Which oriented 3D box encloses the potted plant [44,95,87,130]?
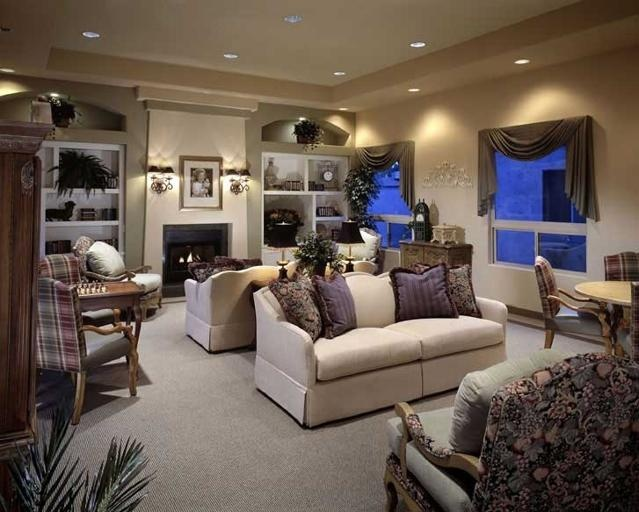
[{"bbox_3d":[-4.186,-2.338,7.166,0.434,0.583,0.711,-4,9,-31],"label":"potted plant"}]

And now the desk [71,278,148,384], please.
[{"bbox_3d":[-2.371,0.756,4.869,0.757,0.783,0.765,-2,7,-24],"label":"desk"}]

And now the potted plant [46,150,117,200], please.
[{"bbox_3d":[-3.911,-1.355,7.258,0.676,0.527,0.714,2,3,-11],"label":"potted plant"}]

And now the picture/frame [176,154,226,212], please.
[{"bbox_3d":[-2.191,-1.336,7.971,0.904,1.273,0.115,-2,3,-35],"label":"picture/frame"}]

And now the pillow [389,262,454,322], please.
[{"bbox_3d":[1.043,0.392,4.479,0.453,0.458,0.196,-3,-4,3],"label":"pillow"}]

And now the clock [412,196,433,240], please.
[{"bbox_3d":[1.774,-0.593,7.626,0.378,0.638,0.259,4,8,32],"label":"clock"}]

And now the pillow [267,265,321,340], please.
[{"bbox_3d":[-0.189,0.470,3.924,0.243,0.568,0.572,-5,-2,25],"label":"pillow"}]

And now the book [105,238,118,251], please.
[{"bbox_3d":[-3.386,-0.175,7.145,0.103,0.213,0.196,0,1,36],"label":"book"}]

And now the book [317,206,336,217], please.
[{"bbox_3d":[0.130,-0.985,9.535,0.336,0.234,0.379,5,5,-18],"label":"book"}]

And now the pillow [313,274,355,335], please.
[{"bbox_3d":[0.184,0.472,4.169,0.211,0.585,0.607,-5,0,25],"label":"pillow"}]

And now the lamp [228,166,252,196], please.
[{"bbox_3d":[-1.510,-1.313,8.359,0.562,0.659,0.392,-2,-1,-31],"label":"lamp"}]

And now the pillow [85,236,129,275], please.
[{"bbox_3d":[-3.056,-0.150,6.254,0.341,0.351,0.885,2,17,-15],"label":"pillow"}]

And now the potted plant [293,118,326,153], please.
[{"bbox_3d":[-0.183,-2.447,8.920,0.540,0.677,0.633,-1,5,-9],"label":"potted plant"}]

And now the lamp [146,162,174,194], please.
[{"bbox_3d":[-2.708,-1.301,7.579,0.433,0.502,0.248,-3,8,-23],"label":"lamp"}]

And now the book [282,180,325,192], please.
[{"bbox_3d":[-0.327,-1.472,9.232,0.957,0.207,0.266,-2,8,-12],"label":"book"}]

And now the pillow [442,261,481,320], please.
[{"bbox_3d":[1.479,0.360,4.569,0.415,0.465,0.132,3,-13,-22],"label":"pillow"}]
